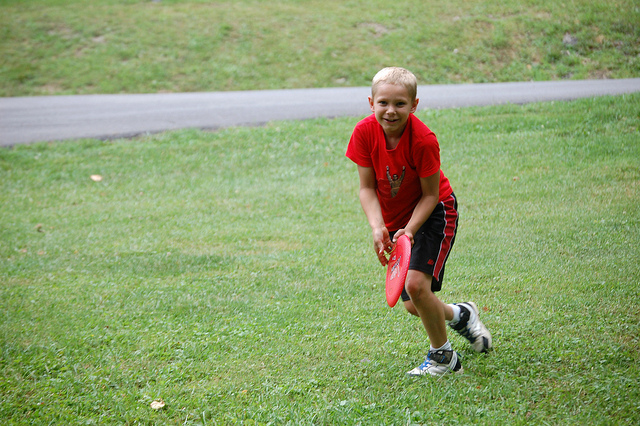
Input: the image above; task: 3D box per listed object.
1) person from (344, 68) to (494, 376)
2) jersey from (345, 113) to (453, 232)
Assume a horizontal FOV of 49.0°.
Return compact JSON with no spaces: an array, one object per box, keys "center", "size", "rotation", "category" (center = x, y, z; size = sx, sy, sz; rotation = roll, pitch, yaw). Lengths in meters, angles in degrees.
[{"center":[0.676,0.131,4.543],"size":[0.703,1.903,1.009],"rotation":[-16,38,-13],"category":"person"},{"center":[0.486,-0.266,4.501],"size":[0.556,0.751,0.299],"rotation":[23,46,33],"category":"jersey"}]
